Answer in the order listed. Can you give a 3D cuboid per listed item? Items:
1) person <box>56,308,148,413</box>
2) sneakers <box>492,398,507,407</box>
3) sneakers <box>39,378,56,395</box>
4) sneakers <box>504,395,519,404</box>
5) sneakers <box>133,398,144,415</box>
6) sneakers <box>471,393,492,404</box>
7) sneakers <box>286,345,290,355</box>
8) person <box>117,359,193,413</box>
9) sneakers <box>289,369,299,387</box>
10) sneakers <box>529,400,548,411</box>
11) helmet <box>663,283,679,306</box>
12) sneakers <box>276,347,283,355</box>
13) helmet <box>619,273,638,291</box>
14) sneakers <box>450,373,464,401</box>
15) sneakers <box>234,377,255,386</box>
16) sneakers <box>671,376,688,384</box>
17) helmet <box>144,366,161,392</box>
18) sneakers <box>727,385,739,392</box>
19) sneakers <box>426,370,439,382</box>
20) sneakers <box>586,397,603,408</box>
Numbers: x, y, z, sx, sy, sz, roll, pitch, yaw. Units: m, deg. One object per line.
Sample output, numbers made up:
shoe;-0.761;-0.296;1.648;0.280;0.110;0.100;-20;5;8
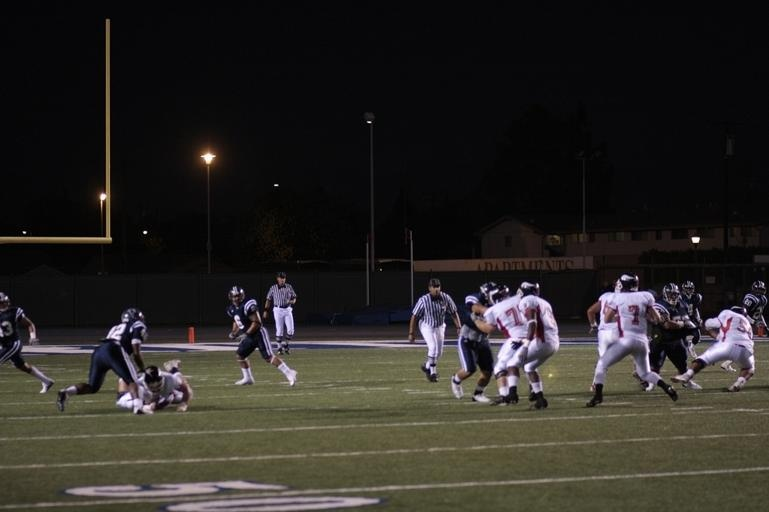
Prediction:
person;-4.245;1.632;13.492;1.290;1.860;0.836;13;-34;-25
sneakers;1.764;2.262;13.610;0.315;0.133;0.111;-8;7;12
sneakers;-6.022;2.314;15.646;0.237;0.225;0.525;1;-3;-21
sneakers;1.998;2.240;13.652;0.181;0.171;0.551;-1;-2;11
sneakers;-3.667;2.244;13.198;0.152;0.237;0.245;1;3;12
sneakers;1.585;2.288;14.069;0.347;0.146;0.119;-1;-1;37
sneakers;-2.509;2.473;22.887;0.106;0.205;0.081;6;9;2
person;-3.571;2.047;13.589;0.852;0.441;1.249;-6;-3;-17
sneakers;-1.673;2.292;16.296;0.148;0.326;0.112;-7;11;-1
sneakers;2.346;2.250;13.318;0.254;0.144;0.293;0;-2;7
helmet;5.501;0.723;16.515;0.382;0.381;0.452;7;-5;5
sneakers;-2.727;2.491;23.055;0.159;0.202;0.198;0;22;-1
helmet;3.776;0.407;13.563;0.248;0.249;0.297;2;10;-16
sneakers;1.219;2.199;14.578;0.210;0.458;0.172;-12;-5;41
sneakers;-2.618;2.373;16.489;0.353;0.121;0.235;-1;-1;10
sneakers;5.198;2.139;15.416;0.183;0.128;0.398;13;-1;11
helmet;-3.463;1.823;13.115;0.280;0.346;0.364;-6;-13;-16
sneakers;5.933;2.262;14.972;0.100;0.074;0.215;11;-4;-17
sneakers;0.926;2.327;16.979;0.175;0.201;0.457;1;-10;-13
sneakers;3.245;2.251;13.548;0.231;0.143;0.370;-1;-2;12
